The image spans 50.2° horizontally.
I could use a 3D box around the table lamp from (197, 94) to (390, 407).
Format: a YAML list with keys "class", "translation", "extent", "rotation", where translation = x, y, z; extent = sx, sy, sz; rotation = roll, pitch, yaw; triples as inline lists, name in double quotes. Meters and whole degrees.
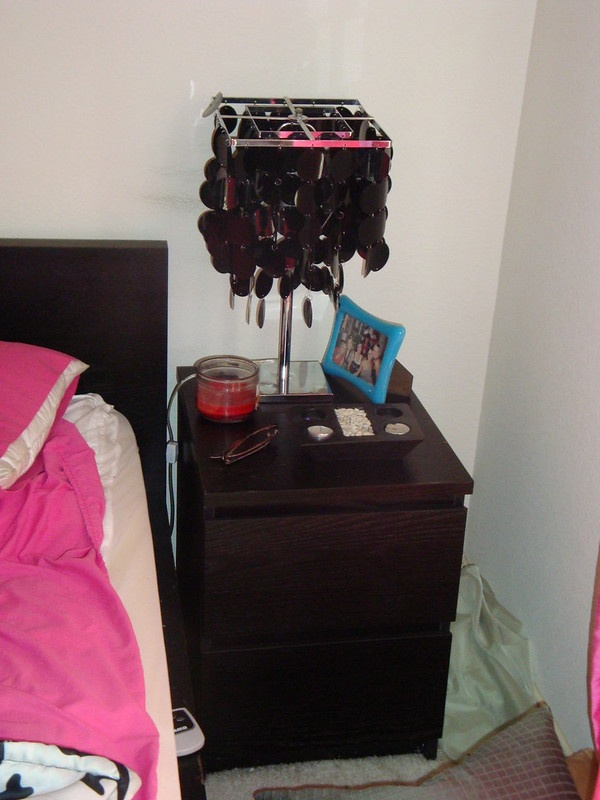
- class: "table lamp"
  translation: [-0.028, -0.279, 1.204]
  extent: [0.315, 0.507, 0.399]
  rotation: [-1, 30, -9]

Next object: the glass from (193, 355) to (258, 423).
- class: "glass"
  translation: [-0.140, -0.022, 1.186]
  extent: [0.129, 0.094, 0.101]
  rotation: [-1, 16, -11]

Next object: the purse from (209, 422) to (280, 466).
- class: "purse"
  translation: [-0.084, 0.075, 1.055]
  extent: [0.138, 0.025, 0.041]
  rotation: [-32, 42, -33]

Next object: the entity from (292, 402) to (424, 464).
- class: "entity"
  translation: [0.099, 0.054, 1.093]
  extent: [0.201, 0.059, 0.152]
  rotation: [2, 30, -4]

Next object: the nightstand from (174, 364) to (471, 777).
- class: "nightstand"
  translation: [0.028, 0.338, 1.268]
  extent: [0.491, 0.557, 0.486]
  rotation: [3, 18, 1]

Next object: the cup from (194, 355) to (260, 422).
- class: "cup"
  translation: [-0.147, -0.018, 1.183]
  extent: [0.137, 0.100, 0.109]
  rotation: [15, 28, 21]

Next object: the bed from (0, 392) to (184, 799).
- class: "bed"
  translation: [-0.265, 0.231, 0.803]
  extent: [0.161, 0.257, 0.567]
  rotation: [-10, 70, -22]
